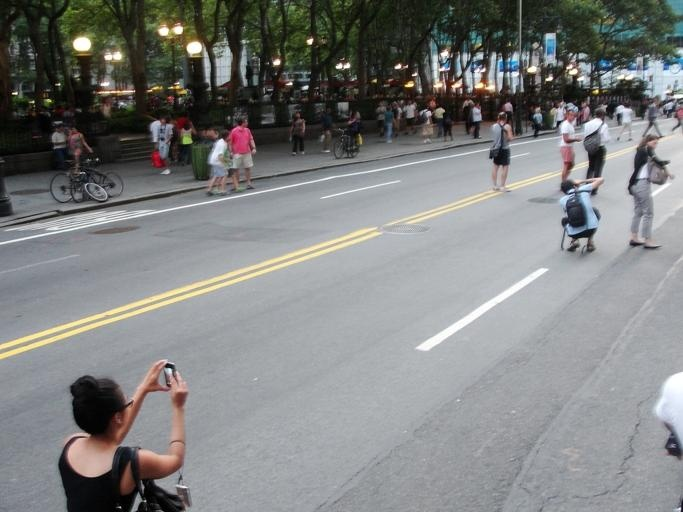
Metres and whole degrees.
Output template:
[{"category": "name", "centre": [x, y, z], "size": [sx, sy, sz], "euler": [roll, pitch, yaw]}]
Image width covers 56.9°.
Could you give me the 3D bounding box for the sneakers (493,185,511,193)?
[{"category": "sneakers", "centre": [4.670, -1.979, 18.365], "size": [0.487, 0.246, 0.193], "euler": [-2, 15, -2]}]

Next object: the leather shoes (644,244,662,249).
[{"category": "leather shoes", "centre": [5.792, -0.201, 11.734], "size": [0.298, 0.150, 0.107], "euler": [1, 6, 34]}]

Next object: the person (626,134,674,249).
[{"category": "person", "centre": [5.574, -1.172, 11.505], "size": [0.633, 2.091, 0.696], "euler": [-1, 13, 14]}]

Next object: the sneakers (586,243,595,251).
[{"category": "sneakers", "centre": [4.606, -0.171, 11.679], "size": [0.193, 0.082, 0.146], "euler": [-3, -17, 37]}]

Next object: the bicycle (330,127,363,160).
[{"category": "bicycle", "centre": [0.241, -5.301, 29.079], "size": [1.488, 1.292, 0.943], "euler": [-14, 16, -33]}]

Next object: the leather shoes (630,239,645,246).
[{"category": "leather shoes", "centre": [5.562, -0.274, 11.877], "size": [0.216, 0.097, 0.092], "euler": [-2, 47, 10]}]

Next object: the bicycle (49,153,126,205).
[{"category": "bicycle", "centre": [-7.956, -2.347, 19.575], "size": [1.981, 1.170, 1.254], "euler": [-6, 14, -2]}]

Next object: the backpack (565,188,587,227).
[{"category": "backpack", "centre": [4.142, -0.838, 11.172], "size": [0.357, 0.622, 0.582], "euler": [-7, -11, 25]}]

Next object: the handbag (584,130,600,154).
[{"category": "handbag", "centre": [6.590, -3.059, 16.581], "size": [0.309, 0.624, 0.412], "euler": [-1, 18, -40]}]

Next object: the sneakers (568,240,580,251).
[{"category": "sneakers", "centre": [4.302, -0.210, 11.718], "size": [0.111, 0.145, 0.308], "euler": [-43, -8, 21]}]

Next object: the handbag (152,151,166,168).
[{"category": "handbag", "centre": [-7.278, -3.915, 25.046], "size": [0.440, 0.591, 0.572], "euler": [-2, 14, 12]}]

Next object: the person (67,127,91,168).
[{"category": "person", "centre": [-9.259, -3.743, 22.111], "size": [0.700, 2.056, 0.671], "euler": [-3, 51, -22]}]
